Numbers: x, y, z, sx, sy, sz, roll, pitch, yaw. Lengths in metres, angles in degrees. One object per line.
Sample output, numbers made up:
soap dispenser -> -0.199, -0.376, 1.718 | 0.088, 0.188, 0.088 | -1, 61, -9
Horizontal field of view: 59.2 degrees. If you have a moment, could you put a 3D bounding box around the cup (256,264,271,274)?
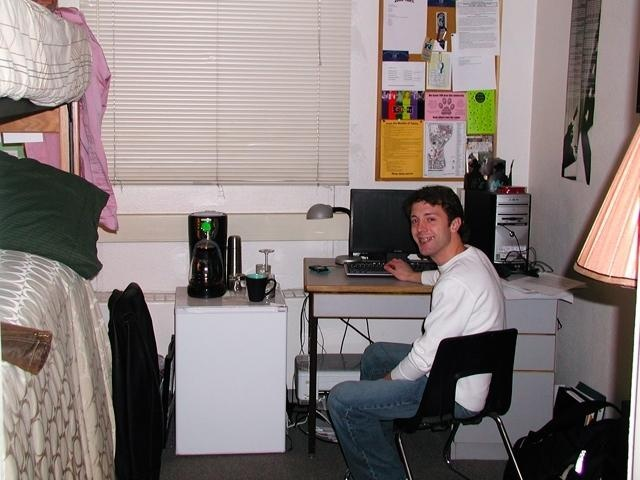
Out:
cup -> -0.326, 0.170, 3.251 | 0.063, 0.066, 0.061 | 0, -2, 0

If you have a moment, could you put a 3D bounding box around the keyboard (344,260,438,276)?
keyboard -> 0.386, 0.146, 3.163 | 0.571, 0.074, 0.424 | 1, 10, 0

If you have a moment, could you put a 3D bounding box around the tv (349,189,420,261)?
tv -> 0.351, -0.093, 3.343 | 0.397, 0.381, 0.107 | 1, 10, -13

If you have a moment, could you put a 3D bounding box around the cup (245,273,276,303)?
cup -> -0.331, 0.264, 3.064 | 0.169, 0.128, 0.120 | 0, 4, -13

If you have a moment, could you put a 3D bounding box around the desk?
desk -> 0.589, 0.497, 3.292 | 1.633, 1.298, 0.935 | 0, 2, -2

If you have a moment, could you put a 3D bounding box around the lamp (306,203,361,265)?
lamp -> 0.066, -0.037, 3.176 | 0.401, 0.463, 0.227 | -4, 10, -23

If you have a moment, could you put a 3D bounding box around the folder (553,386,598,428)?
folder -> 1.341, 0.816, 2.936 | 0.156, 0.217, 0.215 | -19, 17, -23

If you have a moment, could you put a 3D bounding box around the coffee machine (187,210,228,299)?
coffee machine -> -0.641, 0.080, 3.194 | 0.220, 0.439, 0.322 | -2, 9, -9
